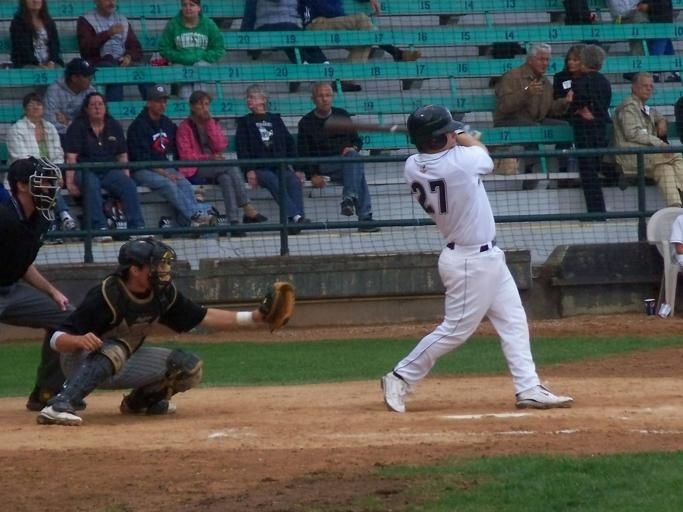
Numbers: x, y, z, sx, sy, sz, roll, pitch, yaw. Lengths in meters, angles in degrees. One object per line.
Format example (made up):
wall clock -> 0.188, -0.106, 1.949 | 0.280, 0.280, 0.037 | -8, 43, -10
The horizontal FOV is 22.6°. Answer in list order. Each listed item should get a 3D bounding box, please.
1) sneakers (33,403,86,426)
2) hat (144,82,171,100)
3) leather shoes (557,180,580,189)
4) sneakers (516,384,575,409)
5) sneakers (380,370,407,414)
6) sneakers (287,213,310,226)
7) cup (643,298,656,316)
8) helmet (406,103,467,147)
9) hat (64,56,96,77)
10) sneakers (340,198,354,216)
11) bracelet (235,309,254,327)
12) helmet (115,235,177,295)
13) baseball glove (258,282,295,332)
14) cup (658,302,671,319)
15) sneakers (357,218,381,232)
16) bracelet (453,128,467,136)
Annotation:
sneakers -> -2.811, 1.591, 16.997 | 0.455, 0.202, 0.178 | 0, -2, -1
hat -> -2.375, -2.110, 21.728 | 0.264, 0.173, 0.349 | -2, 0, -30
leather shoes -> 2.990, -0.975, 22.628 | 0.256, 0.121, 0.058 | 3, 1, 21
sneakers -> 2.042, 1.441, 17.415 | 0.623, 0.262, 0.216 | 0, -4, 2
sneakers -> 0.553, 1.373, 17.494 | 0.250, 0.479, 0.182 | -17, -7, 12
sneakers -> -0.555, -0.481, 21.628 | 0.315, 0.204, 0.107 | -3, 3, 2
cup -> 3.971, 0.644, 21.981 | 0.134, 0.185, 0.165 | -2, 13, -4
helmet -> 0.939, -1.386, 17.321 | 0.537, 0.274, 0.382 | -19, 18, -16
hat -> -3.361, -2.456, 21.845 | 0.339, 0.178, 0.226 | -2, 23, -14
sneakers -> 0.071, -0.648, 21.893 | 0.174, 0.258, 0.146 | -1, 13, -1
bracelet -> -0.994, 0.611, 17.314 | 0.165, 0.112, 0.158 | -1, 2, -22
helmet -> -1.985, 0.034, 17.143 | 0.585, 0.492, 0.438 | 3, 9, 6
baseball glove -> -0.679, 0.479, 17.346 | 0.308, 0.534, 0.212 | 32, -4, -12
cup -> 4.115, 0.683, 21.818 | 0.167, 0.157, 0.189 | 1, 13, 9
sneakers -> 0.348, -0.414, 21.899 | 0.347, 0.175, 0.198 | 3, -3, -41
bracelet -> 1.198, -1.293, 17.368 | 0.066, 0.048, 0.087 | -10, -17, 37
